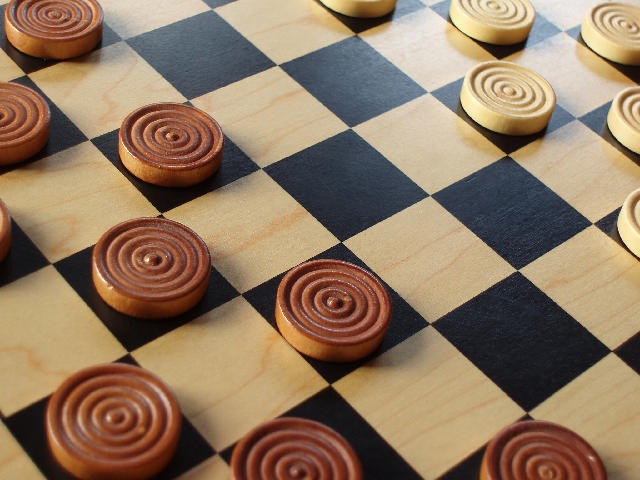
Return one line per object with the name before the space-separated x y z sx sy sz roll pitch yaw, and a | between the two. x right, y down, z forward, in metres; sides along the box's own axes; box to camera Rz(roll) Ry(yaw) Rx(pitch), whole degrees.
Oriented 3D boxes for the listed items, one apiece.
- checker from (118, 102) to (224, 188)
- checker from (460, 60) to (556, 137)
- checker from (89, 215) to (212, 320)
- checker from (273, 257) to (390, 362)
checker | -0.438 -0.292 1.801 0.302 0.072 0.251 -1 64 -15
checker | 0.644 -0.498 2.108 0.338 0.089 0.290 16 58 0
checker | -0.423 0.069 1.527 0.298 0.068 0.261 -16 56 -24
checker | 0.035 0.165 1.525 0.276 0.062 0.259 -15 67 -7
